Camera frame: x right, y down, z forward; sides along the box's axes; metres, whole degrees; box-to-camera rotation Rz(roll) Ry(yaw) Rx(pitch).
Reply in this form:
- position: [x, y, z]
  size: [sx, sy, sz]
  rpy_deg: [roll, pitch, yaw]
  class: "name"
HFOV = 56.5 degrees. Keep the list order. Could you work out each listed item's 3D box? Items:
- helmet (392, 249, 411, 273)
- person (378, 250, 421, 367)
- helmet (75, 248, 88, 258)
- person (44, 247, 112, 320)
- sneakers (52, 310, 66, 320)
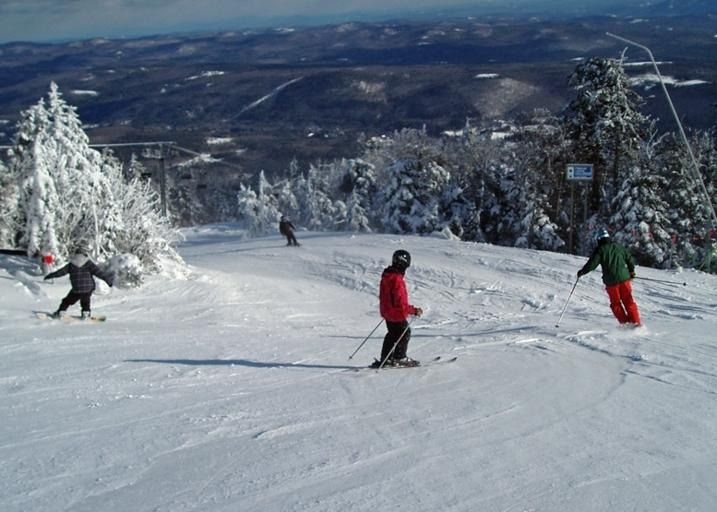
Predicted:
- position: [0.920, 0.057, 13.454]
  size: [0.345, 0.462, 0.426]
  rpy_deg: [5, 18, -7]
  class: "helmet"
- position: [0.807, 1.045, 13.482]
  size: [0.744, 2.368, 0.590]
  rpy_deg: [1, 9, 8]
  class: "person"
- position: [-6.800, -0.098, 16.433]
  size: [0.250, 0.232, 0.324]
  rpy_deg: [-3, 10, -22]
  class: "helmet"
- position: [-7.376, 0.779, 17.551]
  size: [1.562, 2.009, 0.658]
  rpy_deg: [6, 36, -21]
  class: "person"
- position: [-7.292, 1.429, 16.306]
  size: [0.201, 0.155, 0.204]
  rpy_deg: [5, 0, 34]
  class: "sneakers"
